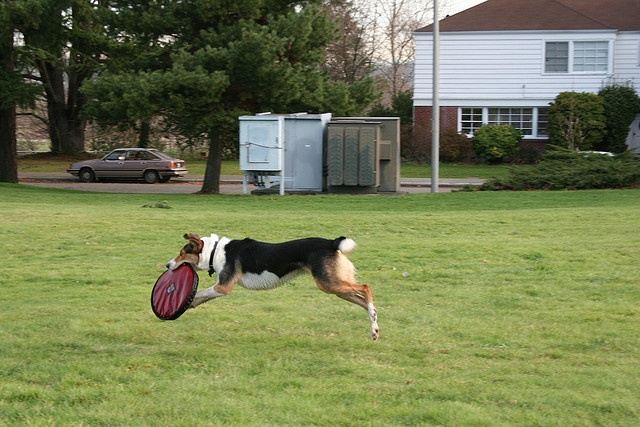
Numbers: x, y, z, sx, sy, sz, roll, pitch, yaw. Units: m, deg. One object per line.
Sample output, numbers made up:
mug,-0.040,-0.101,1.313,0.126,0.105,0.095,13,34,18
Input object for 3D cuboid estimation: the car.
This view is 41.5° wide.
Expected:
car,-8.595,-2.114,38.011,4.978,1.464,0.897,2,7,9
